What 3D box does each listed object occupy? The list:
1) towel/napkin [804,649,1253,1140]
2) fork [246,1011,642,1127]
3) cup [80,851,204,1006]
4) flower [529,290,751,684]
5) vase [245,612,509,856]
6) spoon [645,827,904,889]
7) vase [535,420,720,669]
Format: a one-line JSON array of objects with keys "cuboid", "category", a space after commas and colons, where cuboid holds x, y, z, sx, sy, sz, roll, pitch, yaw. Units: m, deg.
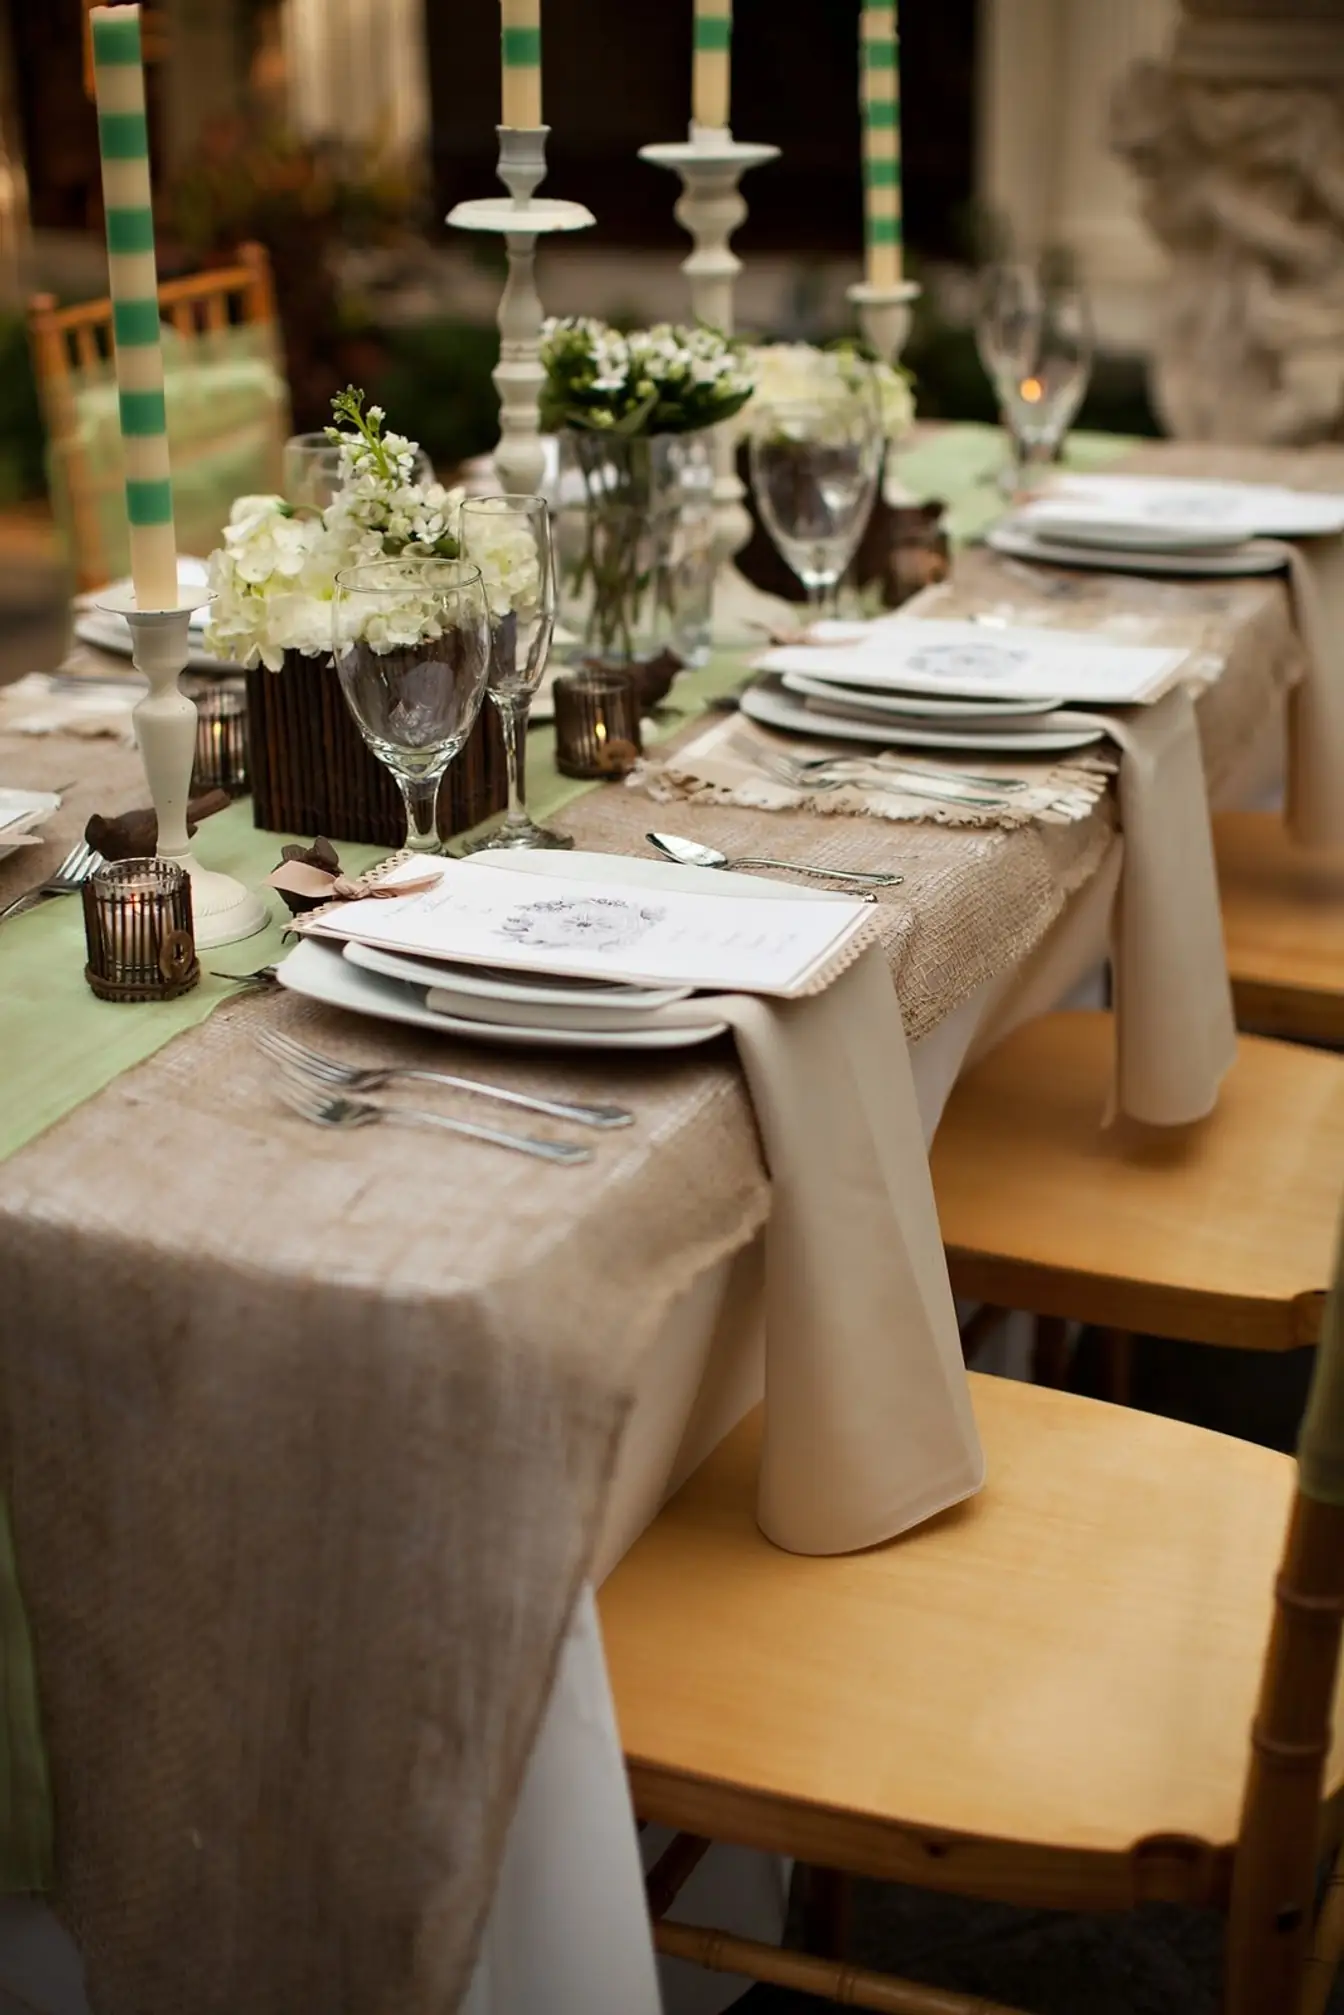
[{"cuboid": [0.305, -0.112, 1.273, 0.267, 0.350, 0.244, 15, 44, 27], "category": "towel/napkin"}, {"cuboid": [-0.095, 0.028, 0.696, 0.107, 0.016, 0.016, 15, 34, 15], "category": "fork"}, {"cuboid": [-0.256, -0.046, 0.806, 0.062, 0.064, 0.066, 1, 23, 0], "category": "cup"}, {"cuboid": [-0.029, -0.436, 1.360, 0.182, 0.295, 0.177, -18, 31, -33], "category": "flower"}, {"cuboid": [-0.198, -0.187, 1.048, 0.132, 0.105, 0.129, 6, 18, 17], "category": "vase"}, {"cuboid": [0.062, -0.090, 0.955, 0.100, 0.016, 0.020, 17, 25, 13], "category": "spoon"}, {"cuboid": [-0.054, -0.392, 1.367, 0.134, 0.194, 0.131, -11, 21, -38], "category": "vase"}]
